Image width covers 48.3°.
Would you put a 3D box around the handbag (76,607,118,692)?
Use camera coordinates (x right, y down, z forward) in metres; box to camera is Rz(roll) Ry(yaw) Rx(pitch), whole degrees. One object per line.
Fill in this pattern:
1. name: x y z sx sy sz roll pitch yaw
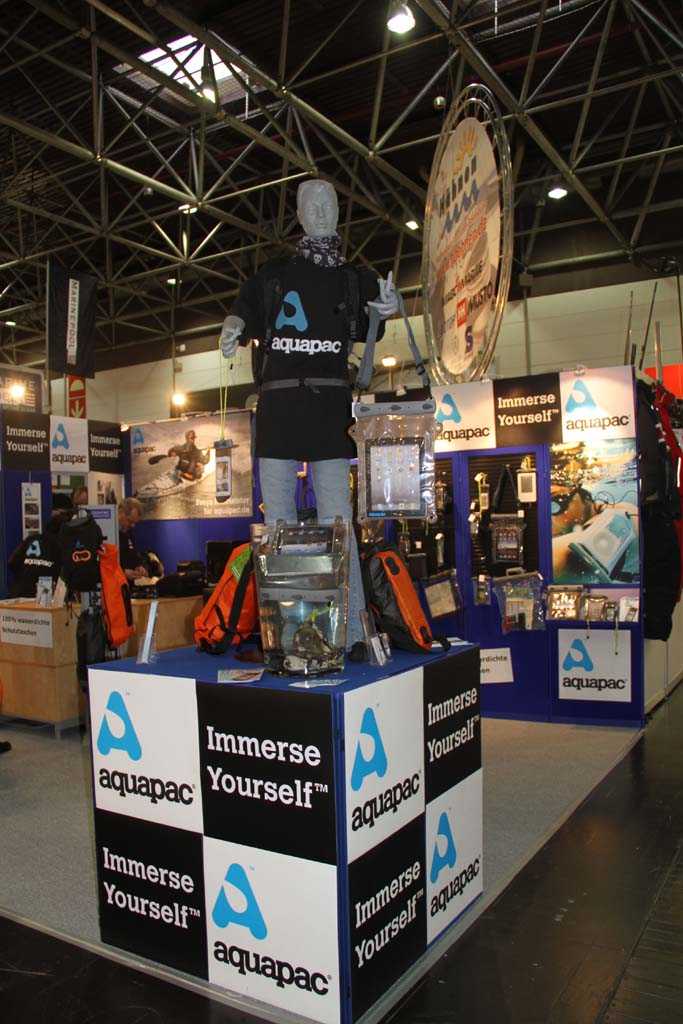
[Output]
1. handbag: -1.474 0.815 4.557 0.232 0.530 0.545 1 -7 -19

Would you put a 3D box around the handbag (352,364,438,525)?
1. handbag: 0.131 -0.107 1.854 0.215 0.357 0.061 -2 -32 6

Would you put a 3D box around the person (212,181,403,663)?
1. person: -0.107 -0.380 2.003 0.425 0.986 0.215 -1 -7 4

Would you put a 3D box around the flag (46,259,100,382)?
1. flag: -2.881 -2.014 8.037 0.201 1.066 0.604 -5 -8 31

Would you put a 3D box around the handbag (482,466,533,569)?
1. handbag: 1.098 0.046 5.072 0.259 0.621 0.093 -2 -5 22

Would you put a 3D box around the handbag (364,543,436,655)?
1. handbag: 0.143 0.252 2.160 0.149 0.311 0.209 -18 0 20
